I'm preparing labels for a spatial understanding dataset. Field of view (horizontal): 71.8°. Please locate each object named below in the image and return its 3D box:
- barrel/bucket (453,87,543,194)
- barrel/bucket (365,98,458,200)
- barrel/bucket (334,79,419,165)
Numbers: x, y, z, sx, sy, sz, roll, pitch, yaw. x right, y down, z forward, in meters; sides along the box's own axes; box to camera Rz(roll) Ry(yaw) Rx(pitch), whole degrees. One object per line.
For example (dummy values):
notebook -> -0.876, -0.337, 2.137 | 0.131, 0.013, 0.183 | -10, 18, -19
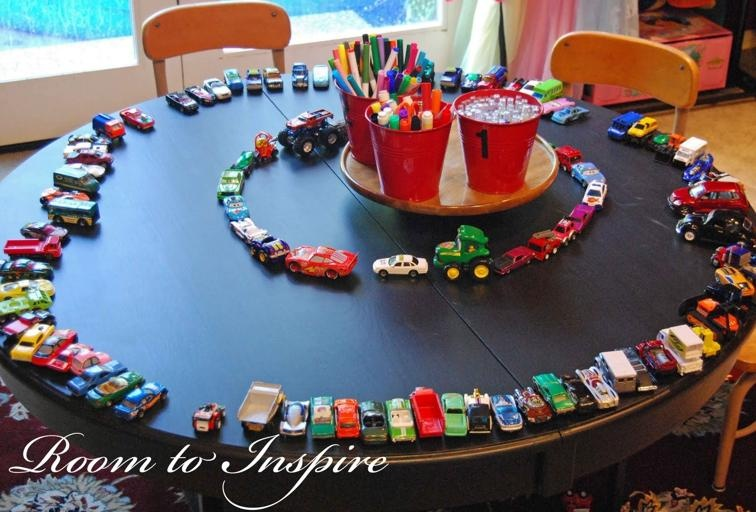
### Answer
barrel/bucket -> 0.289, -0.284, 1.409 | 0.244, 0.221, 0.262 | -3, 35, 2
barrel/bucket -> 0.064, -0.257, 1.354 | 0.236, 0.208, 0.217 | -1, 38, 0
barrel/bucket -> -0.032, -0.365, 1.519 | 0.215, 0.180, 0.204 | 6, 38, -4
